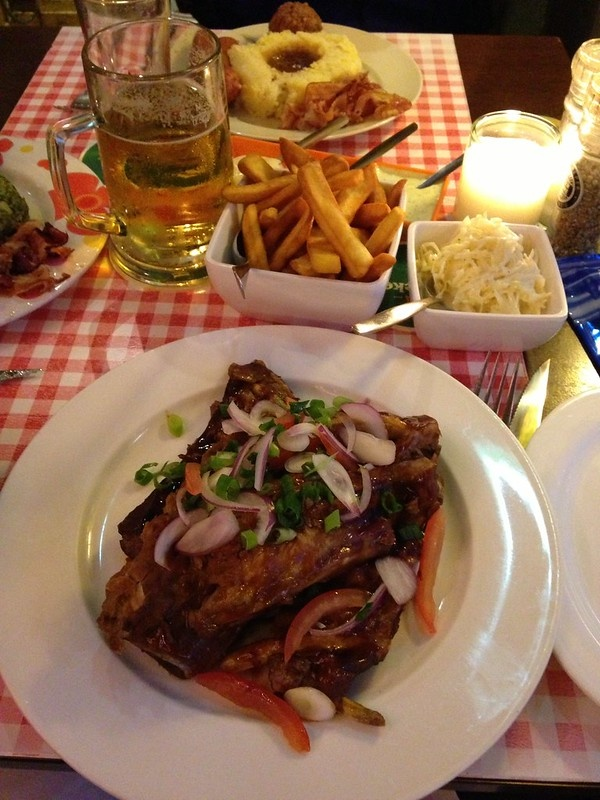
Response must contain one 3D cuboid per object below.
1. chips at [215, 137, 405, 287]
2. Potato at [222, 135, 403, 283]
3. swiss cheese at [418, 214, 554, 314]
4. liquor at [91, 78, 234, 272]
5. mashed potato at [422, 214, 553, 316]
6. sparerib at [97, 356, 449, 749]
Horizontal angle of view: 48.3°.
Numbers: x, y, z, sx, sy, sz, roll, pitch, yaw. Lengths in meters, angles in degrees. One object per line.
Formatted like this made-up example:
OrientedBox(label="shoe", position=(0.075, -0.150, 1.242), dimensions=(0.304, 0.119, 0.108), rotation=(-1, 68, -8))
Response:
OrientedBox(label="chips", position=(0.033, -0.622, 2.109), dimensions=(0.342, 0.173, 0.549), rotation=(12, 60, 6))
OrientedBox(label="Potato", position=(0.019, -0.723, 2.523), dimensions=(0.871, 0.557, 0.563), rotation=(-16, 31, -27))
OrientedBox(label="swiss cheese", position=(0.590, -0.402, 2.130), dimensions=(0.329, 0.217, 0.377), rotation=(7, 47, -3))
OrientedBox(label="liquor", position=(-0.415, -0.693, 2.121), dimensions=(0.320, 0.491, 0.324), rotation=(-20, 35, -29))
OrientedBox(label="mashed potato", position=(0.580, -0.383, 2.117), dimensions=(0.337, 0.216, 0.372), rotation=(5, 49, -3))
OrientedBox(label="sparerib", position=(-0.019, 0.306, 1.548), dimensions=(0.679, 0.218, 0.702), rotation=(30, 64, 13))
